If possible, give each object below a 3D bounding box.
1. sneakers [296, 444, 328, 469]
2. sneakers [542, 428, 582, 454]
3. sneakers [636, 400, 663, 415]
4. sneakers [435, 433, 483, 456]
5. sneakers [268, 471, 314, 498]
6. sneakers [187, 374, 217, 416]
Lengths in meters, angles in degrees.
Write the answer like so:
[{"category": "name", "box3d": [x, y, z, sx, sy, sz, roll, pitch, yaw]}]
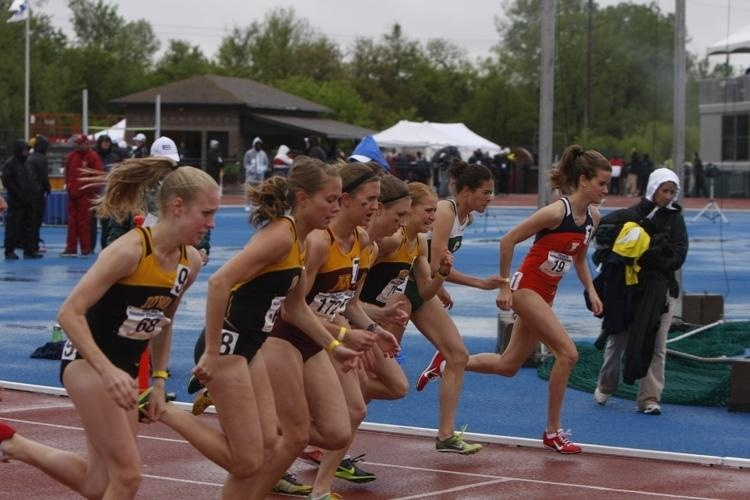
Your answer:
[{"category": "sneakers", "box3d": [-0.553, 1.780, 8.772, 0.188, 0.219, 0.304, 0, 11, -4]}, {"category": "sneakers", "box3d": [1.664, 1.742, 9.270, 0.371, 0.156, 0.166, 5, 4, 23]}, {"category": "sneakers", "box3d": [2.745, 1.593, 10.255, 0.108, 0.095, 0.214, 0, 5, -4]}, {"category": "sneakers", "box3d": [0.713, 1.727, 9.018, 0.468, 0.205, 0.161, 2, -3, 3]}, {"category": "sneakers", "box3d": [-0.759, 1.935, 8.388, 0.489, 0.189, 0.167, 0, -3, 11]}, {"category": "sneakers", "box3d": [-1.319, 1.110, 7.844, 0.226, 0.238, 0.589, 1, -1, -9]}]
